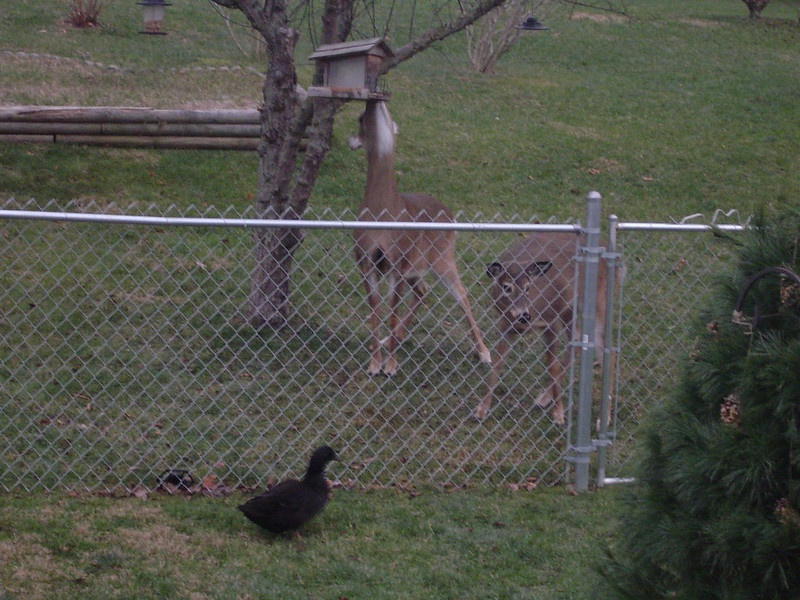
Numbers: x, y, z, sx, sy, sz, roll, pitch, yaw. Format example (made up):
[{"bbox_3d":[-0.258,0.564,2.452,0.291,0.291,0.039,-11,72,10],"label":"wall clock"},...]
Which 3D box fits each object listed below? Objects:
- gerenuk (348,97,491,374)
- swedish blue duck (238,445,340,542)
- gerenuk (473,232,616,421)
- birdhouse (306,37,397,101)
[{"bbox_3d":[0.124,-0.927,25.100,1.175,3.989,4.071,7,3,29],"label":"gerenuk"},{"bbox_3d":[-1.404,2.531,21.764,1.523,1.317,0.716,-3,1,-23],"label":"swedish blue duck"},{"bbox_3d":[1.449,0.057,23.803,1.013,2.897,3.851,7,13,34],"label":"gerenuk"},{"bbox_3d":[-0.652,-3.226,23.707,1.124,0.880,0.853,10,19,32],"label":"birdhouse"}]
